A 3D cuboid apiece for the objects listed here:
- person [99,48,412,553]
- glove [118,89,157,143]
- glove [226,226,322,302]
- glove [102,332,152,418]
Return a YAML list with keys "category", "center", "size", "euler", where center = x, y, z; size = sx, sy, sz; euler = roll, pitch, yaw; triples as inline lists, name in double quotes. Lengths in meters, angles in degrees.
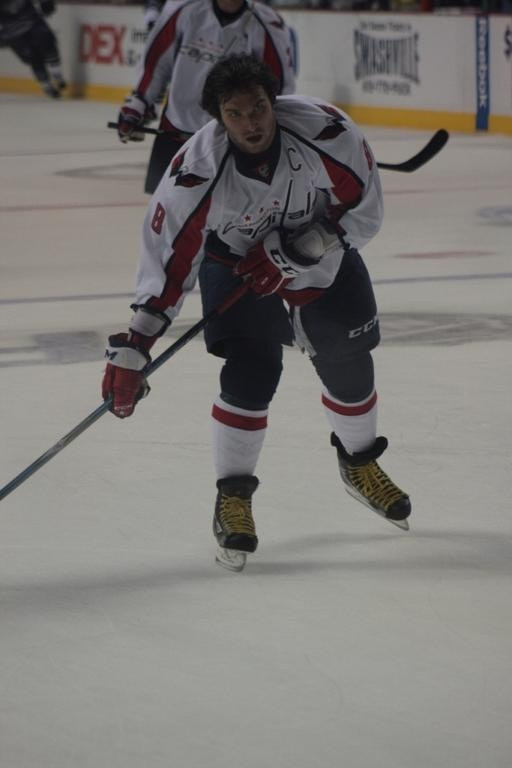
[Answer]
- category: "person"
  center: [0.037, -0.148, 1.778]
  size: [0.723, 1.075, 0.349]
  euler: [-4, 14, -28]
- category: "glove"
  center: [-0.514, -1.175, 3.428]
  size: [0.103, 0.147, 0.195]
  euler: [-8, -28, -35]
- category: "glove"
  center: [0.050, -0.267, 1.695]
  size: [0.191, 0.149, 0.091]
  euler: [5, 12, 14]
- category: "glove"
  center: [-0.278, -0.023, 1.731]
  size: [0.118, 0.173, 0.084]
  euler: [12, 10, 33]
